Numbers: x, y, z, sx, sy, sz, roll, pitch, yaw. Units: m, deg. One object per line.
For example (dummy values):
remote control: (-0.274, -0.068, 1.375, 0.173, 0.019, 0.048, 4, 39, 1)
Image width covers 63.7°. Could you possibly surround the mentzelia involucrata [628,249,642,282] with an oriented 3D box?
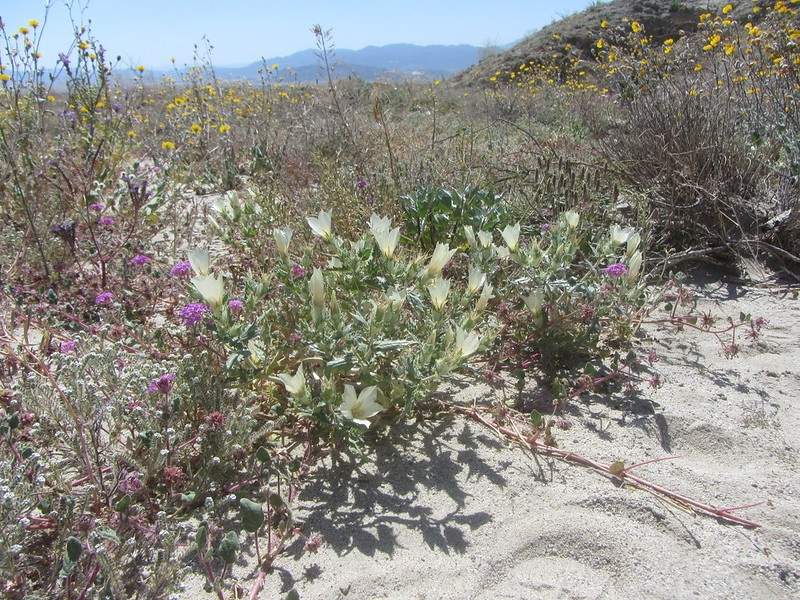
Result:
mentzelia involucrata: (1.275, -0.179, 3.513, 0.067, 0.185, 0.206, 0, 16, 18)
